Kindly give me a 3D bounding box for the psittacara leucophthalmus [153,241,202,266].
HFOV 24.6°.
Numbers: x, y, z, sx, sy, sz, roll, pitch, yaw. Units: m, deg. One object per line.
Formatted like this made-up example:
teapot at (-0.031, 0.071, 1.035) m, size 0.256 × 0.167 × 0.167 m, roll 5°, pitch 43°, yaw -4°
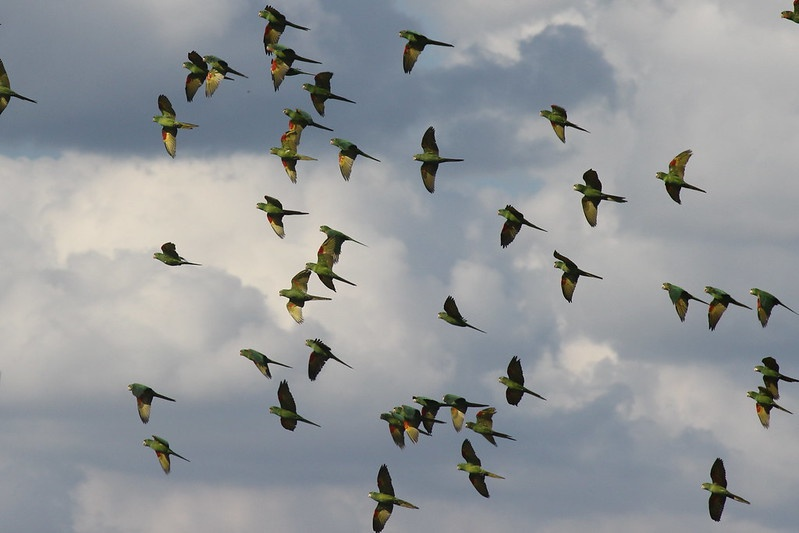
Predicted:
psittacara leucophthalmus at (-11.970, -0.501, 96.477) m, size 1.967 × 1.035 × 1.953 m, roll -16°, pitch -3°, yaw 13°
